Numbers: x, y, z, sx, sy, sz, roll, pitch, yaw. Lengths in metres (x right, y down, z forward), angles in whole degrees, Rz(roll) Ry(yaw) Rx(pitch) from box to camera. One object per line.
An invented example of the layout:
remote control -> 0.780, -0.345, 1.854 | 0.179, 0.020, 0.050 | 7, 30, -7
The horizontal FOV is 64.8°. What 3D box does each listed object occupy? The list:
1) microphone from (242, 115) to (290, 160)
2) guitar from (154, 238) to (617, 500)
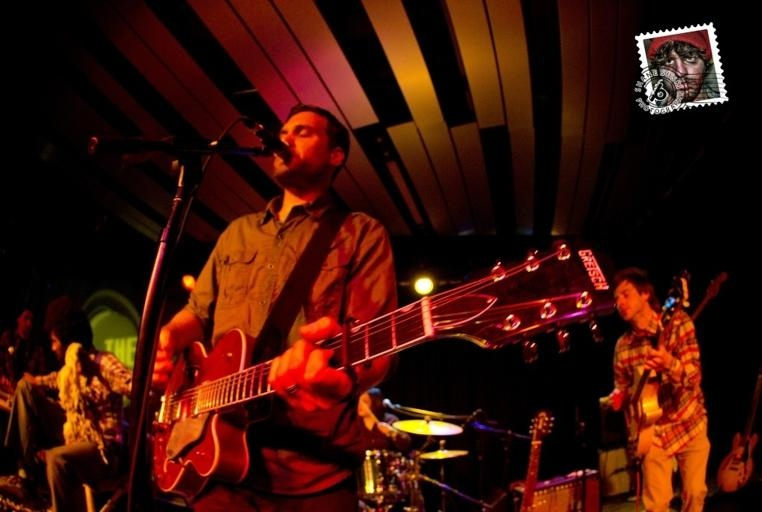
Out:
microphone -> -0.685, -0.681, 3.829 | 0.139, 0.189, 0.595 | -32, -9, 3
guitar -> -0.064, 0.747, 3.590 | 3.538, 1.336, 0.498 | -25, -37, 33
